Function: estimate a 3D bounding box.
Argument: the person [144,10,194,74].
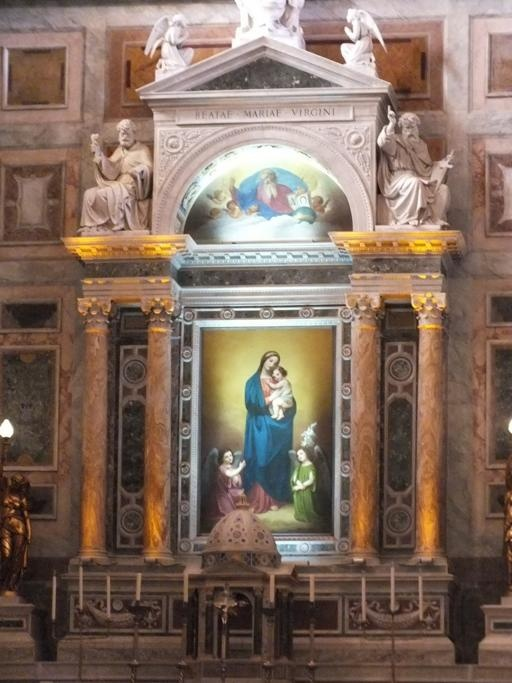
[{"bbox_3d":[-0.943,-3.267,23.669,0.551,0.744,0.526,3,-1,-22],"label":"person"}]

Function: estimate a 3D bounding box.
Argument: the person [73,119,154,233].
[{"bbox_3d":[-1.451,-1.807,23.323,0.758,1.327,0.488,1,-12,-5],"label":"person"}]

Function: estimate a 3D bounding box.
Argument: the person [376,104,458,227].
[{"bbox_3d":[1.668,-1.854,22.874,0.770,1.356,0.518,0,-12,2],"label":"person"}]
